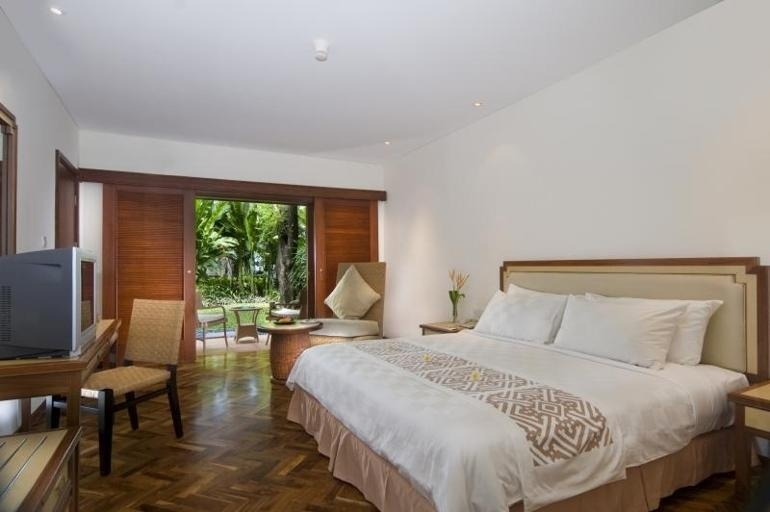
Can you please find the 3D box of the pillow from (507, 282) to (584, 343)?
[{"bbox_3d":[1.549,0.568,4.811,0.129,0.455,0.481,35,-15,-24],"label":"pillow"}]

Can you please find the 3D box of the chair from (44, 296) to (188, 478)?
[{"bbox_3d":[-2.252,0.987,3.977,0.765,1.192,0.928,0,1,16],"label":"chair"}]

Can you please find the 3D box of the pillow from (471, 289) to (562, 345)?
[{"bbox_3d":[1.340,0.567,4.513,0.205,0.438,0.706,34,-18,-27],"label":"pillow"}]
